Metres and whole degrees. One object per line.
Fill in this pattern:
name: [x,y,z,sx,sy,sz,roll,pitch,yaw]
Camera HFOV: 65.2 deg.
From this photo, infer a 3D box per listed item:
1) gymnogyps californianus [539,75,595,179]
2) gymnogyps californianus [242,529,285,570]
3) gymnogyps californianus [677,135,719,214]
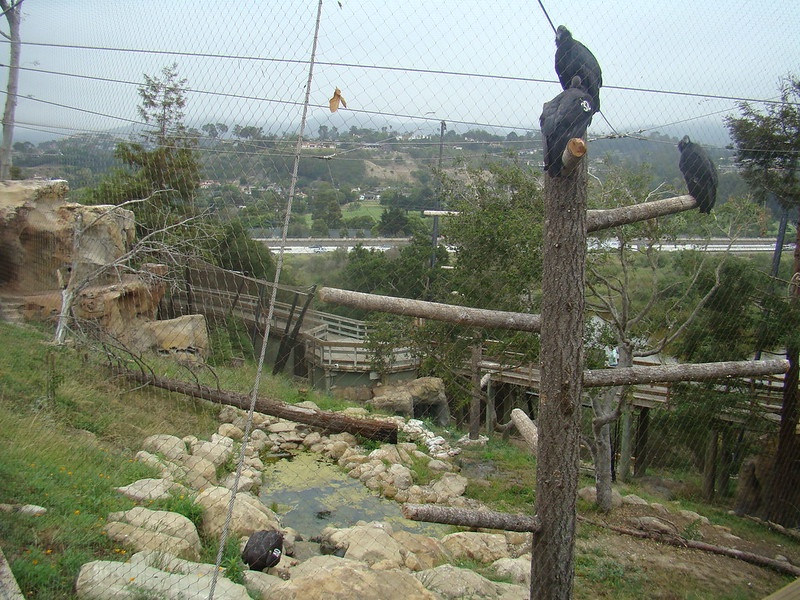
gymnogyps californianus: [1.333,-1.346,5.014,0.412,0.758,0.233,5,1,10]
gymnogyps californianus: [-1.497,2.722,6.812,0.313,0.231,0.420,2,17,16]
gymnogyps californianus: [2.794,-1.181,5.883,0.361,0.764,0.306,5,1,29]
